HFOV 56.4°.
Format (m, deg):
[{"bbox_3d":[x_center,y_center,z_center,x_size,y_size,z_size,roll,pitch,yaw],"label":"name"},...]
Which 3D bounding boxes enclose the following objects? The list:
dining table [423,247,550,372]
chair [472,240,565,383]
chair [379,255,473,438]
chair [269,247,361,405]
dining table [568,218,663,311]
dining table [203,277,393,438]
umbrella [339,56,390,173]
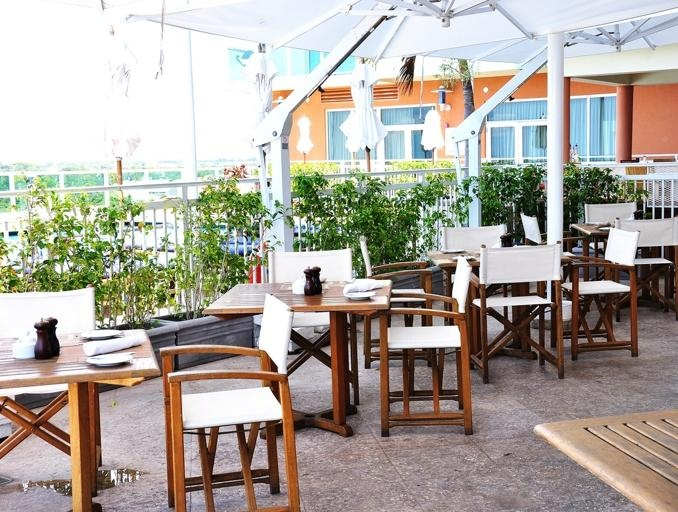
[{"bbox_3d":[1.397,0.513,5.644,1.045,1.377,1.126,-4,6,0],"label":"dining table"},{"bbox_3d":[1.603,0.423,5.633,0.794,1.181,1.101,1,10,13],"label":"chair"},{"bbox_3d":[0.634,0.638,4.606,0.808,1.113,0.856,0,4,24],"label":"chair"},{"bbox_3d":[-0.166,0.607,4.987,0.646,0.993,0.693,5,-4,-5],"label":"chair"},{"bbox_3d":[3.241,0.041,7.310,0.867,1.544,1.029,-1,8,6],"label":"dining table"},{"bbox_3d":[-0.225,0.634,4.459,1.088,0.861,1.157,1,4,12],"label":"dining table"},{"bbox_3d":[0.310,-1.691,8.154,0.606,1.458,0.614,-11,20,-18],"label":"umbrella"}]
